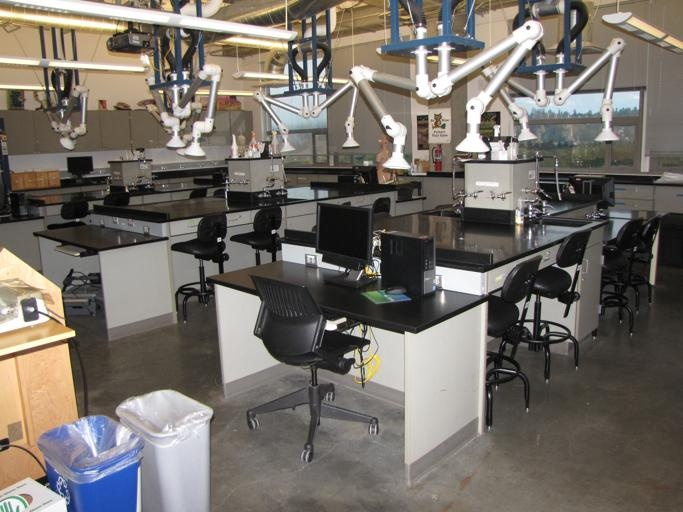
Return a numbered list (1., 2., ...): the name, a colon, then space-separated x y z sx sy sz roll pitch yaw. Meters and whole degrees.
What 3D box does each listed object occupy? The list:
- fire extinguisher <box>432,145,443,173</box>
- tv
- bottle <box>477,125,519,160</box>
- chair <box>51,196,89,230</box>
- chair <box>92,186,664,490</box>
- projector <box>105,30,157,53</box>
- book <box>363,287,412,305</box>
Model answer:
1. fire extinguisher: 1.824 -1.848 10.300 0.178 0.482 0.487 0 12 12
2. tv: 0.029 -0.041 3.706 0.541 0.549 0.302 7 11 39
3. bottle: 1.362 -0.930 4.760 0.320 0.212 0.249 0 11 11
4. chair: -3.638 -0.551 7.291 0.393 0.476 0.438 27 27 27
5. chair: 0.541 0.412 4.438 2.809 1.341 1.968 -11 14 -38
6. projector: -2.171 -2.214 5.638 0.311 0.240 0.525 -12 15 -40
7. book: 0.278 0.255 3.472 0.313 0.059 0.223 3 12 27
